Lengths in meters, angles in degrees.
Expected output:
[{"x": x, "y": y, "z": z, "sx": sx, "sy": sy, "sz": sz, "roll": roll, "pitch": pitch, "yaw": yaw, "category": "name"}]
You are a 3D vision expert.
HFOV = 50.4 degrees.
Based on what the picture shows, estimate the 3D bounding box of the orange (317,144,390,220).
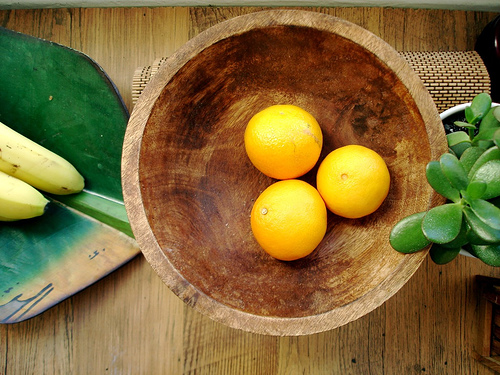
[{"x": 0.186, "y": 0.006, "z": 1.178, "sx": 0.141, "sy": 0.141, "sz": 0.161, "roll": -3, "pitch": 84, "yaw": 42, "category": "orange"}]

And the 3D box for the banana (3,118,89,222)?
[{"x": -0.511, "y": -0.038, "z": 1.287, "sx": 0.218, "sy": 0.102, "sz": 0.245, "roll": 6, "pitch": 82, "yaw": 0, "category": "banana"}]

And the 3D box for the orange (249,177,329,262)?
[{"x": 0.088, "y": 0.067, "z": 1.181, "sx": 0.146, "sy": 0.146, "sz": 0.169, "roll": 24, "pitch": 105, "yaw": 31, "category": "orange"}]
